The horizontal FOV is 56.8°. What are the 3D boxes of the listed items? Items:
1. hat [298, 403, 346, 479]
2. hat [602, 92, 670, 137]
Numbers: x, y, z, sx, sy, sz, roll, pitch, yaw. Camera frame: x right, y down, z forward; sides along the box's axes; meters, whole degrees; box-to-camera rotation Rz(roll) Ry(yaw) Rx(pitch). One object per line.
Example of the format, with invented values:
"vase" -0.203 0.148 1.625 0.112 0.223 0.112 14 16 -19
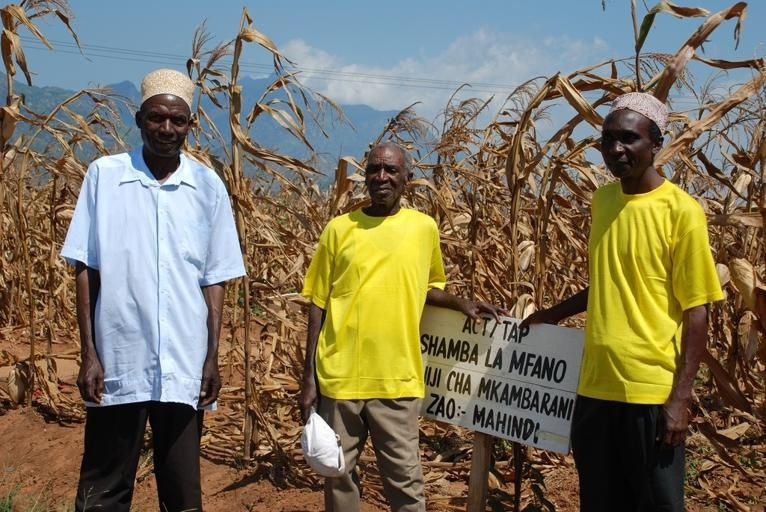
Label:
"hat" -0.384 1.218 4.535 0.280 0.437 0.213 1 -4 -2
"hat" 1.535 -0.857 4.251 0.347 0.286 0.187 0 -4 5
